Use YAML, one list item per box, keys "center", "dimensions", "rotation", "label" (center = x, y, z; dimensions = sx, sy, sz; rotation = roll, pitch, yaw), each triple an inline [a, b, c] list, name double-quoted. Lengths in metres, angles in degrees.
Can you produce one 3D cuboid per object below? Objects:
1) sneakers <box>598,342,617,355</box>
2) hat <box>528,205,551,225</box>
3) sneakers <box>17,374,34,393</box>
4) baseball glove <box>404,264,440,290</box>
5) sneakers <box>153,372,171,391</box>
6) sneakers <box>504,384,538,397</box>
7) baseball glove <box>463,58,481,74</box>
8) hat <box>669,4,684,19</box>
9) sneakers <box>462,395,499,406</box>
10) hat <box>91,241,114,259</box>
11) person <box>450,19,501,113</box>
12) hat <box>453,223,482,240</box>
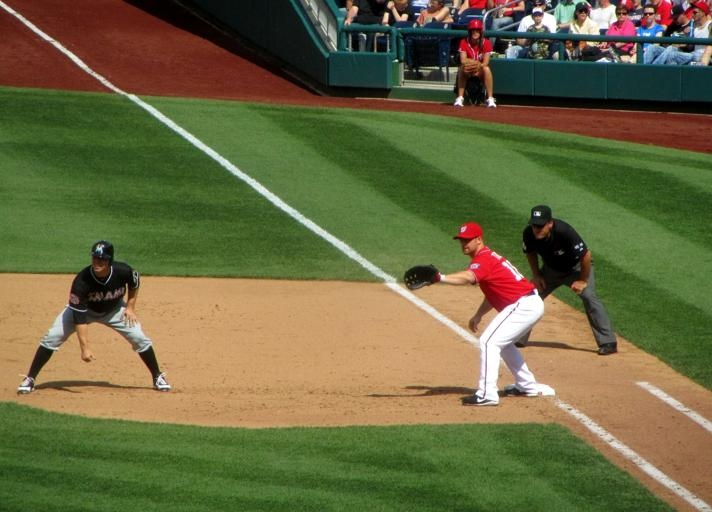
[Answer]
- center: [3.614, 1.325, 16.976]
  dimensions: [0.282, 0.109, 0.132]
  rotation: [-3, 37, -6]
  label: "sneakers"
- center: [2.516, -0.548, 16.063]
  dimensions: [0.223, 0.169, 0.332]
  rotation: [4, 17, 22]
  label: "hat"
- center: [-4.341, 1.699, 15.472]
  dimensions: [0.137, 0.131, 0.300]
  rotation: [2, -1, -1]
  label: "sneakers"
- center: [0.838, 0.274, 15.034]
  dimensions: [0.433, 0.342, 0.246]
  rotation: [2, 12, 1]
  label: "baseball glove"
- center: [-2.587, 1.700, 15.721]
  dimensions: [0.134, 0.139, 0.301]
  rotation: [-3, 5, -31]
  label: "sneakers"
- center: [2.185, 1.779, 15.781]
  dimensions: [0.465, 0.175, 0.162]
  rotation: [2, 23, 23]
  label: "sneakers"
- center: [2.366, -3.875, 24.197]
  dimensions: [0.292, 0.226, 0.312]
  rotation: [8, 3, -45]
  label: "baseball glove"
- center: [7.117, -5.392, 26.020]
  dimensions: [0.370, 0.178, 0.267]
  rotation: [-35, 28, -29]
  label: "hat"
- center: [1.590, 1.885, 15.286]
  dimensions: [0.479, 0.166, 0.163]
  rotation: [4, 6, -1]
  label: "sneakers"
- center: [-3.274, -0.066, 15.110]
  dimensions: [0.262, 0.252, 0.295]
  rotation: [0, 12, -11]
  label: "hat"
- center: [2.495, -3.953, 24.479]
  dimensions: [0.857, 1.788, 0.966]
  rotation: [3, 13, 4]
  label: "person"
- center: [1.460, -0.313, 15.284]
  dimensions: [0.293, 0.249, 0.414]
  rotation: [3, 12, 4]
  label: "hat"
